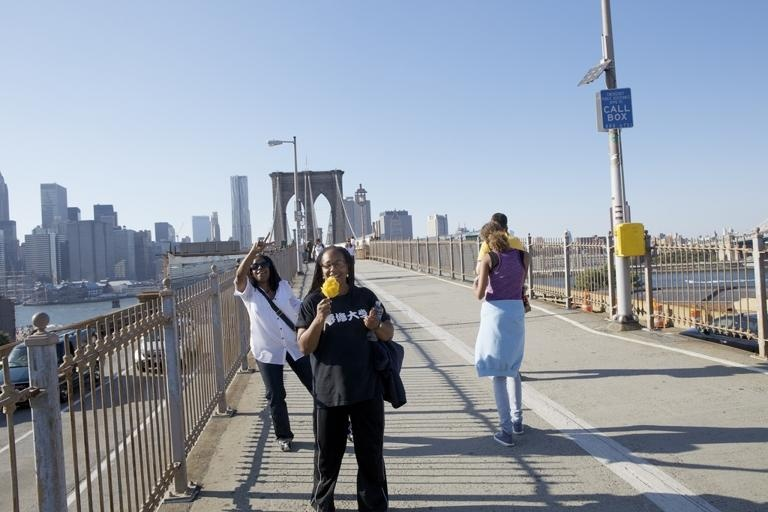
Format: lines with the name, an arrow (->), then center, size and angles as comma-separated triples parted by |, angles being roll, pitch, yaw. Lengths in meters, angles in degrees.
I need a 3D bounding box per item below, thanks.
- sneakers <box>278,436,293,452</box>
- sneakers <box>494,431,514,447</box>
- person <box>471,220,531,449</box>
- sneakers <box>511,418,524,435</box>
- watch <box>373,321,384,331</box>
sneakers -> -1.087, 2.071, 6.442 | 0.120, 0.157, 0.160 | 0, 8, 8
sneakers -> 1.306, 1.977, 6.399 | 0.109, 0.166, 0.243 | -1, 14, -10
person -> 1.323, 0.814, 6.601 | 0.584, 2.403, 0.817 | 0, 8, 20
sneakers -> 1.518, 1.920, 6.592 | 0.093, 0.118, 0.261 | 0, -1, 4
watch -> -0.051, 0.601, 5.027 | 0.077, 0.031, 0.077 | -43, 6, -32
